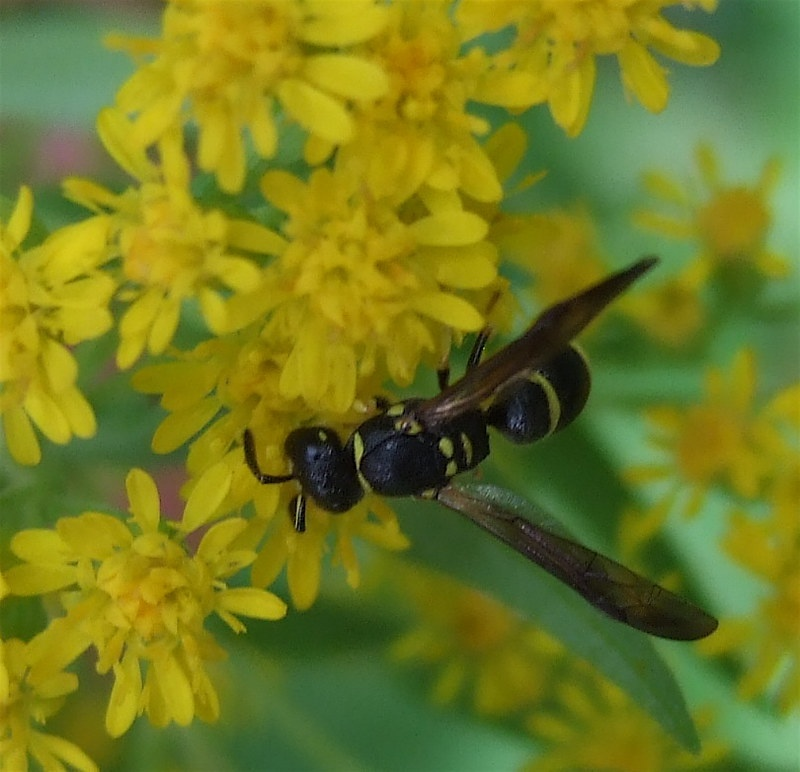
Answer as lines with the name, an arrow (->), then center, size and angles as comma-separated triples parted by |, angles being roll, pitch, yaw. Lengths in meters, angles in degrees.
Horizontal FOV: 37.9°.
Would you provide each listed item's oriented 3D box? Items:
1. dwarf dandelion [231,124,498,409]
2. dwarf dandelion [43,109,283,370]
dwarf dandelion -> -0.022, -0.077, 0.819 | 0.199, 0.057, 0.178 | 30, 91, -6
dwarf dandelion -> -0.162, -0.099, 0.813 | 0.171, 0.071, 0.157 | 6, 98, 17
